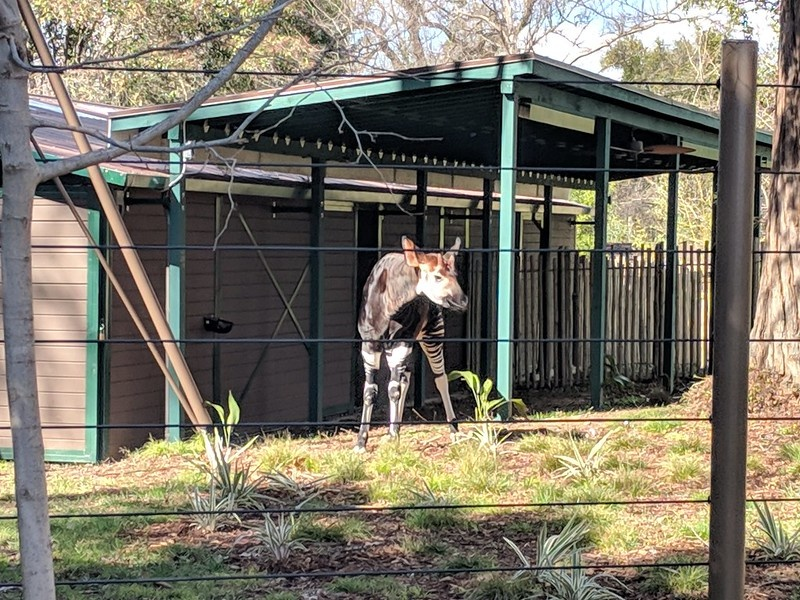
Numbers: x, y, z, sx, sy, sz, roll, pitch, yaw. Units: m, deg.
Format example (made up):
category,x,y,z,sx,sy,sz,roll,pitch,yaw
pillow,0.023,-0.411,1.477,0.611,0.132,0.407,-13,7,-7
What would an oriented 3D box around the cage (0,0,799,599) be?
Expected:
category,x,y,z,sx,sy,sz,roll,pitch,yaw
cage,0.742,-0.137,12.217,4.906,3.797,5.325,2,3,13
